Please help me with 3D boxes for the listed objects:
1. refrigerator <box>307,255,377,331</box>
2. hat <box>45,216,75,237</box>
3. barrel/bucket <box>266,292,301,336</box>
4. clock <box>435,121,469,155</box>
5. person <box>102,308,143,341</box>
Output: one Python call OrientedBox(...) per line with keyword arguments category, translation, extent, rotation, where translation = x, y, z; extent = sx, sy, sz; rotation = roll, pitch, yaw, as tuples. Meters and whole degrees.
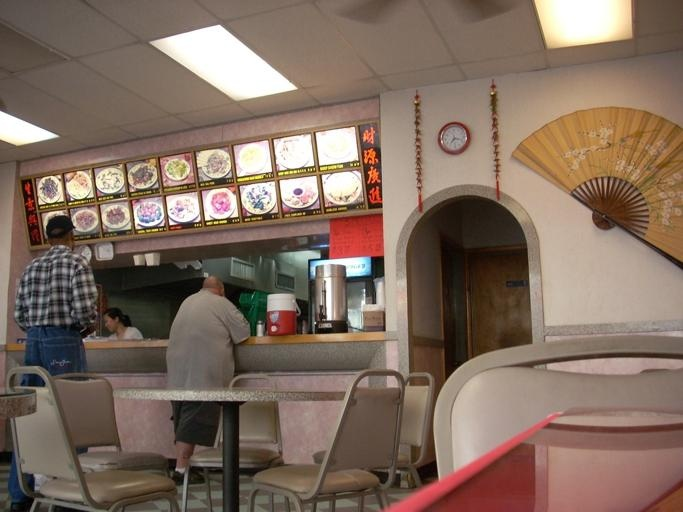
OrientedBox(category="refrigerator", translation=(0.007, 0.487, 7.241), extent=(0.904, 1.020, 1.904), rotation=(-1, -3, -3))
OrientedBox(category="hat", translation=(-1.991, -0.218, 3.803), extent=(0.133, 0.110, 0.188), rotation=(-16, 26, -2))
OrientedBox(category="barrel/bucket", translation=(-0.520, 0.507, 4.645), extent=(0.253, 0.358, 0.295), rotation=(-1, -3, -10))
OrientedBox(category="clock", translation=(0.954, -1.013, 4.584), extent=(0.281, 0.306, 0.042), rotation=(2, -3, 30))
OrientedBox(category="person", translation=(-2.493, 0.766, 6.080), extent=(0.354, 0.344, 0.888), rotation=(0, -3, -23))
